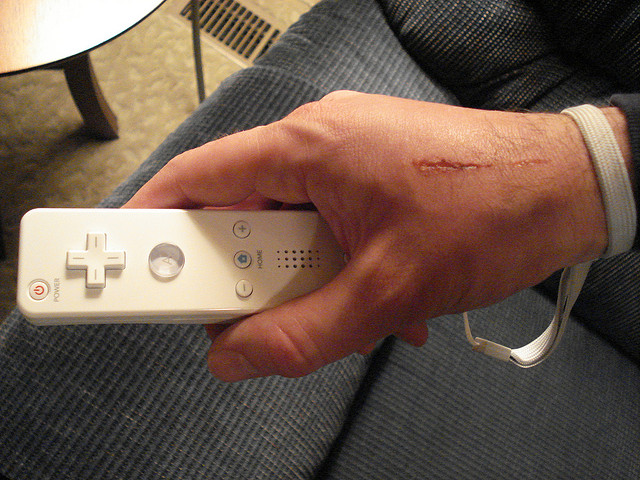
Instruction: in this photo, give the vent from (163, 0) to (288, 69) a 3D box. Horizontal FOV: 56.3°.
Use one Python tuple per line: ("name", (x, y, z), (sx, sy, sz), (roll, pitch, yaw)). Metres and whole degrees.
("vent", (-0.197, -0.497, 1.389), (0.181, 0.040, 0.162), (38, 69, 6))
